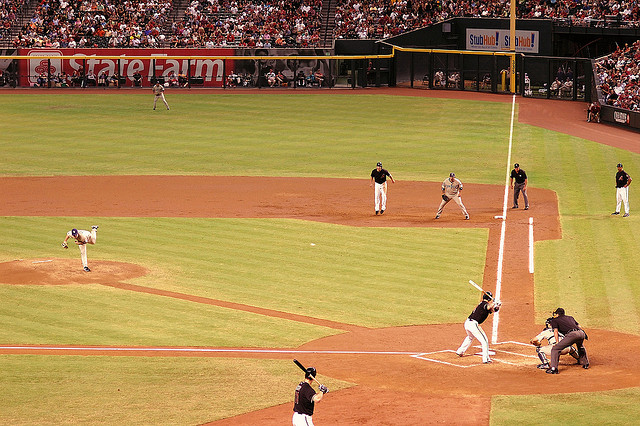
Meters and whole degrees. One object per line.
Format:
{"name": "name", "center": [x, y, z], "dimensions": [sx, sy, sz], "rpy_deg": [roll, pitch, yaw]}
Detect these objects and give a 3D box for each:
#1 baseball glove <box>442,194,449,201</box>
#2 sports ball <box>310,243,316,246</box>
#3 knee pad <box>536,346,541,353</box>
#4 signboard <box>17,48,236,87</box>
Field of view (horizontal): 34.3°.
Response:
{"name": "baseball glove", "center": [5.998, -0.761, 49.717], "dimensions": [0.249, 0.311, 0.341], "rpy_deg": [-1, 5, -5]}
{"name": "sports ball", "center": [-0.382, 1.416, 47.113], "dimensions": [0.223, 0.084, 0.310], "rpy_deg": [-1, 5, -11]}
{"name": "knee pad", "center": [7.751, 4.863, 36.887], "dimensions": [0.066, 0.155, 0.131], "rpy_deg": [8, 5, -29]}
{"name": "signboard", "center": [-15.087, -11.460, 81.209], "dimensions": [16.774, 3.003, 1.543], "rpy_deg": [0, 6, 1]}
